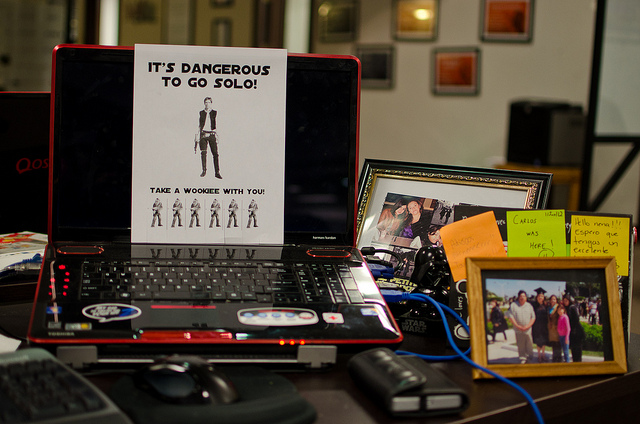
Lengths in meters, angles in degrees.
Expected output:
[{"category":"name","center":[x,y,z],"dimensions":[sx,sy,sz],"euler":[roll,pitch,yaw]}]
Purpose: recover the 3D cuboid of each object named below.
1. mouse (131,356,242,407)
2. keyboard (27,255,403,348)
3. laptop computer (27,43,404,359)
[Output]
[{"category":"mouse","center":[-0.201,0.249,0.863],"dimensions":[0.174,0.058,0.049],"euler":[4,7,8]},{"category":"keyboard","center":[-0.177,0.151,1.003],"dimensions":[0.612,0.119,0.173],"euler":[2,7,-6]},{"category":"laptop computer","center":[-0.182,-0.038,1.027],"dimensions":[0.598,0.521,0.333],"euler":[1,7,-13]}]
